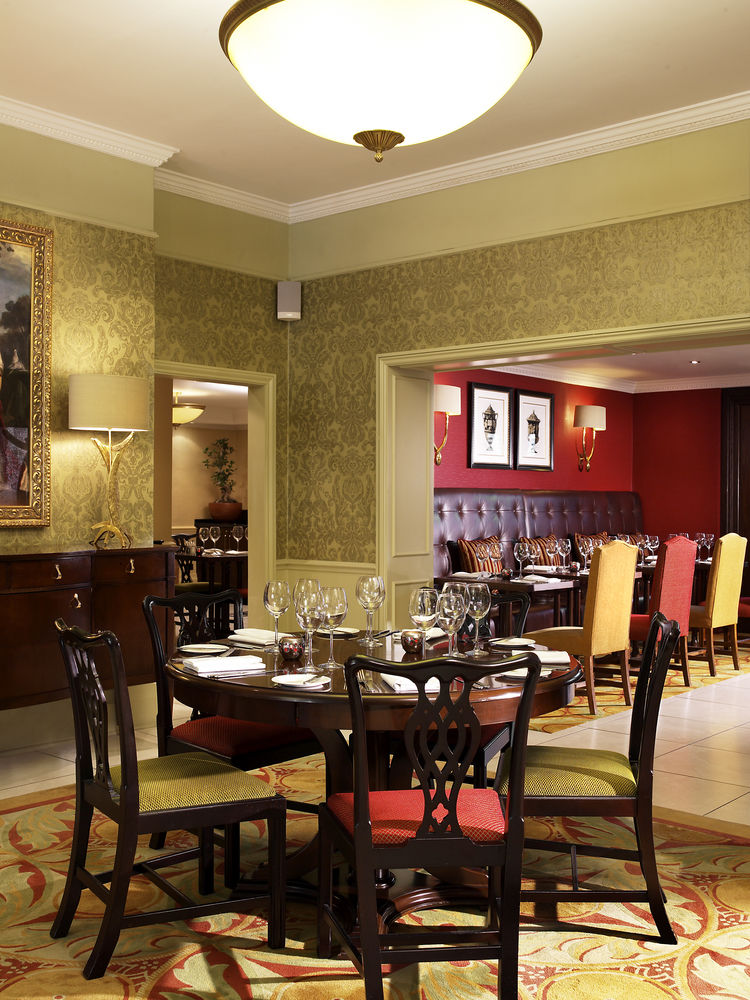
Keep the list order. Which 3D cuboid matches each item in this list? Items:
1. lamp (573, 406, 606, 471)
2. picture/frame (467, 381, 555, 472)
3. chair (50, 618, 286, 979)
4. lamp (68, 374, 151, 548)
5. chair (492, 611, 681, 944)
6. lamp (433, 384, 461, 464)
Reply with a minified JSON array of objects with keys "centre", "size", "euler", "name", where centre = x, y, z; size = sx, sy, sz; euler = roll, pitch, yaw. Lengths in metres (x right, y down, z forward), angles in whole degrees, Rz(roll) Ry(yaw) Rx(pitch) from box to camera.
[{"centre":[2.812,-0.802,9.649],"size":[0.316,0.835,0.819],"euler":[1,4,35],"name":"lamp"},{"centre":[1.565,-0.809,8.498],"size":[0.061,0.955,1.716],"euler":[2,4,43],"name":"picture/frame"},{"centre":[-0.482,0.672,1.767],"size":[0.410,0.737,0.488],"euler":[-4,-4,43],"name":"chair"},{"centre":[-1.437,-0.204,4.079],"size":[0.439,0.942,0.463],"euler":[-3,4,-18],"name":"lamp"},{"centre":[0.553,0.712,2.013],"size":[0.490,0.702,0.493],"euler":[2,-3,-7],"name":"chair"},{"centre":[0.669,-0.705,7.244],"size":[0.333,0.789,0.257],"euler":[-1,2,-13],"name":"lamp"}]
